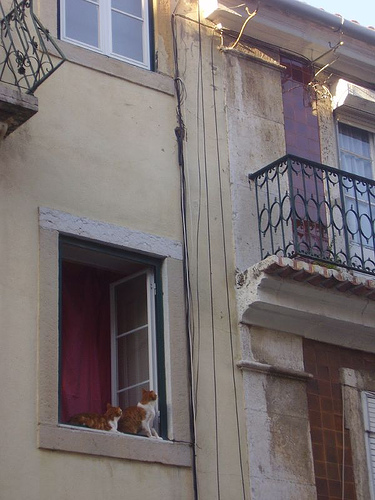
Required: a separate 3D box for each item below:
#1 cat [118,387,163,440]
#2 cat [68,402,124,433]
[{"bbox_3d":[-0.395,1.336,11.931,0.362,0.473,0.175,4,22,2],"label":"cat"},{"bbox_3d":[-0.742,1.372,11.672,0.431,0.220,0.175,15,-14,-38],"label":"cat"}]
